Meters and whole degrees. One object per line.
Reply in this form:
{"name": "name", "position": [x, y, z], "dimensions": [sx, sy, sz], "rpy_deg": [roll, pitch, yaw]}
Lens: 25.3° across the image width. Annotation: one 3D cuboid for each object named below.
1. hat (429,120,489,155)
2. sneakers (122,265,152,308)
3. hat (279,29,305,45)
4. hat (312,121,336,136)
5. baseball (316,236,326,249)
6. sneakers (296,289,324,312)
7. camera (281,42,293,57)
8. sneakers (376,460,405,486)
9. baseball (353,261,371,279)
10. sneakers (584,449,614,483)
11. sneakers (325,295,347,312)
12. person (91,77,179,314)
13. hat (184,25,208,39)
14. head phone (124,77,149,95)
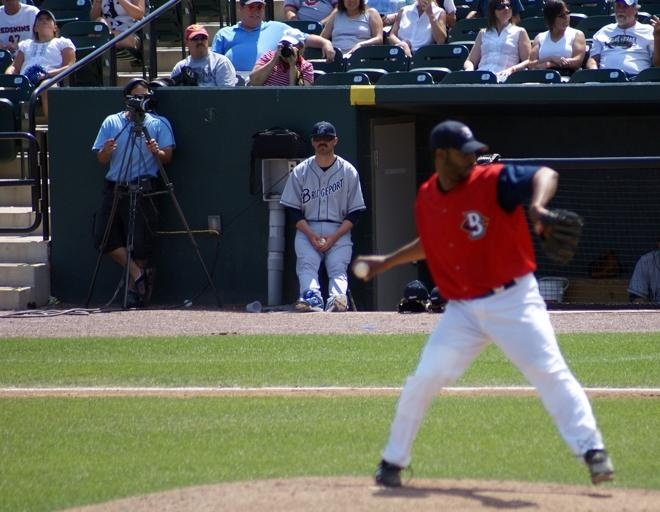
{"name": "hat", "position": [1.034, -0.949, 11.759], "dimensions": [0.385, 0.205, 0.251], "rpy_deg": [-1, 16, 9]}
{"name": "sneakers", "position": [-2.185, 0.378, 16.938], "dimensions": [0.176, 0.481, 0.145], "rpy_deg": [18, 17, 31]}
{"name": "hat", "position": [-0.439, -2.667, 18.025], "dimensions": [0.255, 0.141, 0.396], "rpy_deg": [1, 9, 9]}
{"name": "hat", "position": [-0.065, -1.403, 16.460], "dimensions": [0.247, 0.154, 0.189], "rpy_deg": [1, 7, 7]}
{"name": "baseball", "position": [-0.077, -0.136, 16.506], "dimensions": [0.075, 0.097, 0.113], "rpy_deg": [6, 9, 42]}
{"name": "sneakers", "position": [-0.214, 0.500, 16.278], "dimensions": [0.300, 0.237, 0.287], "rpy_deg": [0, 7, -3]}
{"name": "camera", "position": [-0.504, -2.403, 17.180], "dimensions": [0.148, 0.145, 0.161], "rpy_deg": [-20, 7, 6]}
{"name": "sneakers", "position": [0.474, 1.772, 11.822], "dimensions": [0.142, 0.260, 0.264], "rpy_deg": [2, -10, -1]}
{"name": "baseball", "position": [0.264, 0.121, 12.081], "dimensions": [0.132, 0.093, 0.129], "rpy_deg": [6, -4, -29]}
{"name": "sneakers", "position": [2.140, 1.665, 11.653], "dimensions": [0.172, 0.135, 0.308], "rpy_deg": [-3, 10, 7]}
{"name": "sneakers", "position": [0.076, 0.549, 16.224], "dimensions": [0.226, 0.217, 0.136], "rpy_deg": [-1, 2, 1]}
{"name": "person", "position": [-2.249, -0.701, 16.899], "dimensions": [0.916, 2.603, 0.817], "rpy_deg": [-1, 7, -11]}
{"name": "hat", "position": [-1.616, -2.668, 17.608], "dimensions": [0.216, 0.153, 0.300], "rpy_deg": [-4, -3, -12]}
{"name": "head phone", "position": [-2.226, -1.930, 16.746], "dimensions": [0.190, 0.249, 0.257], "rpy_deg": [9, 7, 30]}
